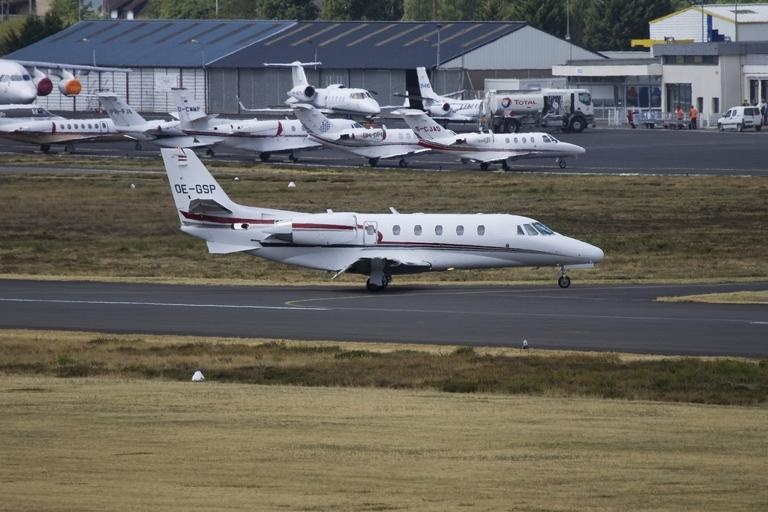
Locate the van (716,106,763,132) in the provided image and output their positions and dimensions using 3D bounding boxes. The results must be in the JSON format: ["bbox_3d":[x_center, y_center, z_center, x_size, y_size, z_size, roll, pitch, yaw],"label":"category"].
[{"bbox_3d":[34.663,-13.192,195.945,2.617,1.624,3.616,-5,11,-23],"label":"van"}]

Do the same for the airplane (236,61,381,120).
[{"bbox_3d":[-5.152,-16.028,199.589,17.645,5.375,15.549,-5,8,-33],"label":"airplane"}]

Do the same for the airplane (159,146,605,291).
[{"bbox_3d":[0.592,-2.087,146.190,31.608,9.223,26.731,-1,-1,-5],"label":"airplane"}]

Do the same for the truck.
[{"bbox_3d":[15.990,-14.028,195.813,10.662,3.565,3.540,-1,8,18],"label":"truck"}]
